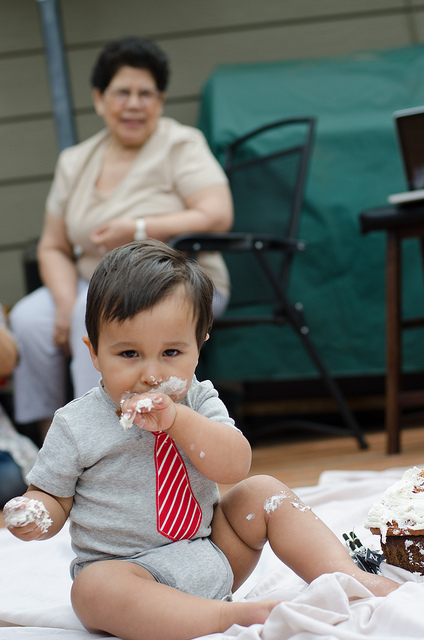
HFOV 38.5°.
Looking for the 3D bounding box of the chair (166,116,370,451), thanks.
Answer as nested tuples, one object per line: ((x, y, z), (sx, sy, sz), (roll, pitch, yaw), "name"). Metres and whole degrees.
((0.216, -0.092, 1.959), (0.779, 1.030, 0.789), (-6, 3, -3), "chair")
